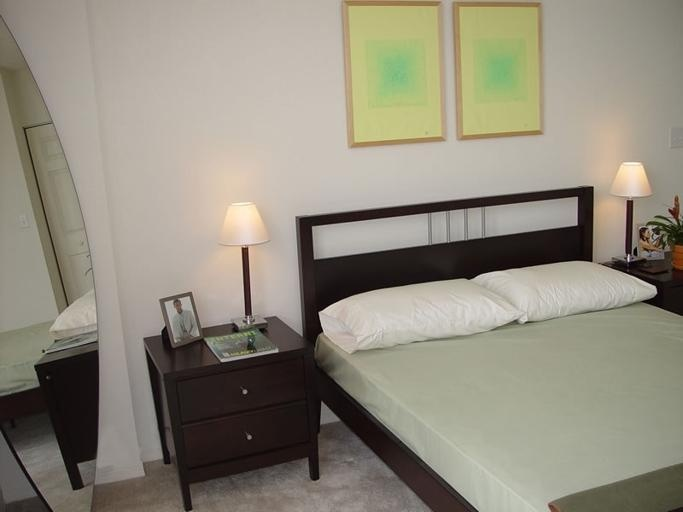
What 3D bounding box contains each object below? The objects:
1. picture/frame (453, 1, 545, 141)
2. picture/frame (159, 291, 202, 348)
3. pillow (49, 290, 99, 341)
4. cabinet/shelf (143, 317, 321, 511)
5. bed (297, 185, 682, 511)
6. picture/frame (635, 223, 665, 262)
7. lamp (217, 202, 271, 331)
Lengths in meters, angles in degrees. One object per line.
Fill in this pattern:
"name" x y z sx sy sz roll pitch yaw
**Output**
"picture/frame" 0.950 -1.172 3.211 0.679 0.940 0.059 -8 14 -21
"picture/frame" -0.817 0.315 2.685 0.167 0.250 0.125 -11 33 -5
"pillow" -1.262 0.294 2.472 0.145 0.040 0.161 -19 35 -24
"cabinet/shelf" -0.524 0.704 2.796 0.874 0.978 0.722 -8 18 -22
"bed" 0.673 0.715 3.131 1.589 1.137 1.760 -12 29 -21
"picture/frame" 2.092 -0.096 3.531 0.222 0.331 0.024 -4 6 -19
"lamp" -0.507 0.040 2.812 0.249 0.665 0.289 -9 16 -13
